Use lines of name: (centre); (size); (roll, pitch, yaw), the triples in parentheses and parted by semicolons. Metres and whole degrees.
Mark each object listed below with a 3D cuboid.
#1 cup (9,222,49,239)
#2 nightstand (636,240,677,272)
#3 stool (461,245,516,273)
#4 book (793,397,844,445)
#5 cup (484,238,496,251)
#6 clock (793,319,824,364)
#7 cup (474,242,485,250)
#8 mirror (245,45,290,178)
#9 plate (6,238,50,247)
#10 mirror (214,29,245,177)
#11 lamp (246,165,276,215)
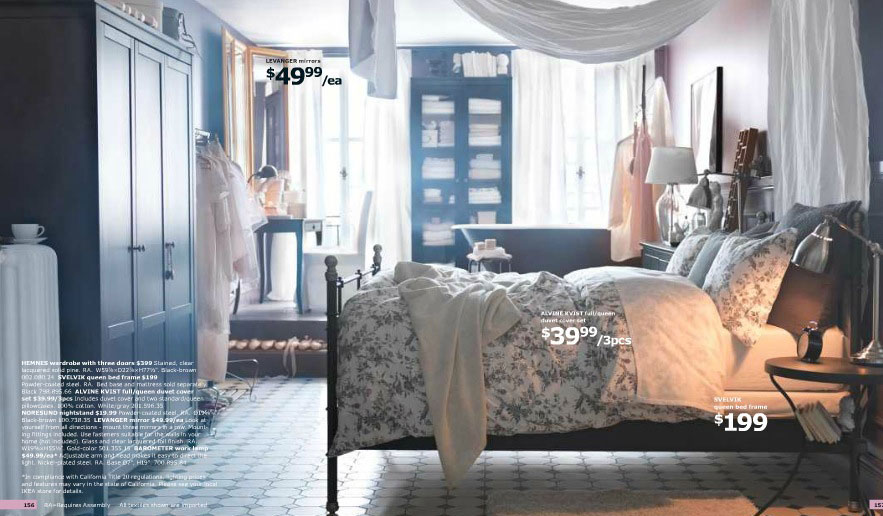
cup: (-2.365, -0.149, 3.994); (0.132, 0.059, 0.105); (1, -4, -27)
nightstand: (1.863, -0.011, 6.035); (0.231, 0.350, 0.393); (-3, 10, -15)
stool: (0.462, 0.018, 6.687); (0.277, 0.238, 0.368); (1, 2, -3)
book: (2.163, 0.921, 4.058); (0.243, 0.236, 0.095); (17, 42, 26)
cup: (0.445, -0.127, 6.639); (0.102, 0.075, 0.096); (1, 8, 0)
clock: (2.056, 0.479, 3.929); (0.110, 0.286, 0.205); (2, -2, 10)
cup: (0.354, -0.105, 6.649); (0.118, 0.082, 0.064); (0, -1, -5)
mirror: (-1.964, -1.670, 7.945); (0.403, 1.412, 0.638); (-3, 3, -5)
plate: (-2.379, -0.091, 4.010); (0.204, 0.033, 0.111); (-4, 3, -30)
mirror: (-2.194, -1.642, 7.408); (0.133, 1.402, 0.550); (-3, 3, 5)
lamp: (-1.816, -0.714, 7.142); (0.301, 0.400, 0.934); (-3, 3, -15)
